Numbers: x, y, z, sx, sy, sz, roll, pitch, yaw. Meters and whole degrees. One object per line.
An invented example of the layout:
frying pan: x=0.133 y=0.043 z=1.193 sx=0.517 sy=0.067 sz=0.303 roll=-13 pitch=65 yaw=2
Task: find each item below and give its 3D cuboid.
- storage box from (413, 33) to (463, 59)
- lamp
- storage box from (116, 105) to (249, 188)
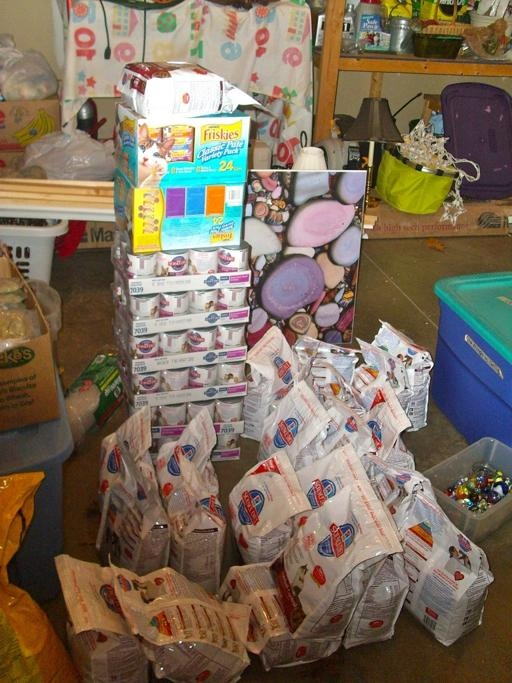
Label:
storage box: x=1.122 y=-1.816 z=3.332 sx=0.232 sy=0.099 sz=0.180 roll=-1 pitch=37 yaw=-9
lamp: x=0.771 y=-1.236 z=3.629 sx=0.449 sy=0.717 sz=0.430 roll=3 pitch=23 yaw=7
storage box: x=-0.209 y=-0.558 z=1.513 sx=0.300 sy=0.178 sz=0.294 roll=-8 pitch=32 yaw=-21
